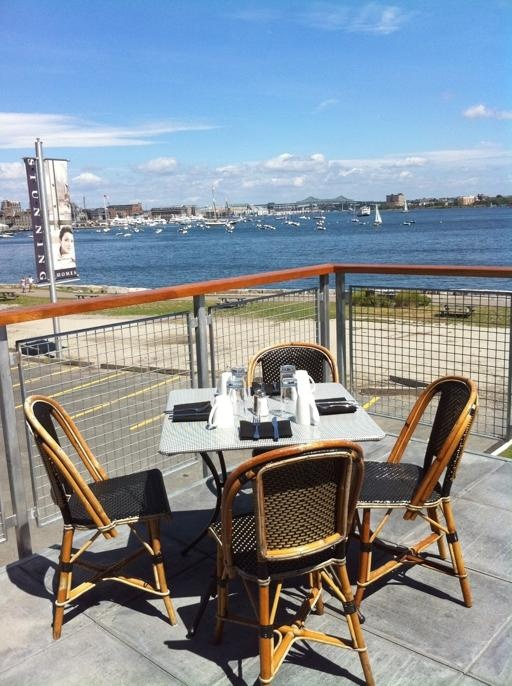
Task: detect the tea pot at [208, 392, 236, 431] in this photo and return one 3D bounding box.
[{"bbox_3d":[-0.135,0.275,2.097,0.087,0.124,0.145,7,17,25],"label":"tea pot"}]

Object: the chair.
[{"bbox_3d":[0.188,0.617,2.172,1.283,0.702,1.269,0,5,17],"label":"chair"}]

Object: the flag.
[{"bbox_3d":[-5.703,-3.571,15.310,0.902,3.567,1.391,-10,12,-17],"label":"flag"}]
